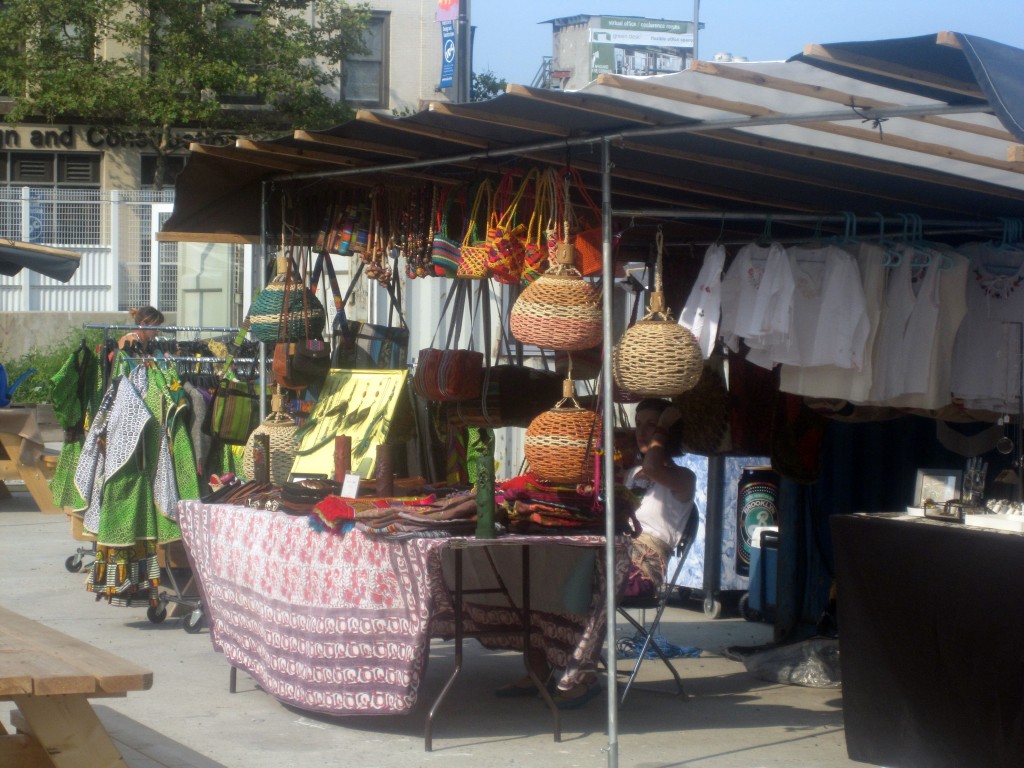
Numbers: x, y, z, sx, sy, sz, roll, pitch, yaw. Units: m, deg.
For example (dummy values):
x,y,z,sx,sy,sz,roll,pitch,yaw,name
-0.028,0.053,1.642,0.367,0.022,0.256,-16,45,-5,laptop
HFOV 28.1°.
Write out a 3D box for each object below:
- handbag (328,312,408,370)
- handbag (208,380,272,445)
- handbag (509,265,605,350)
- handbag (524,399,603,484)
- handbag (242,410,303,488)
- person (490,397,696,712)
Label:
x,y,z,sx,sy,sz,roll,pitch,yaw,name
-0.977,-0.281,14.030,0.513,0.337,0.202,2,4,-8,handbag
-1.973,0.187,14.728,0.310,0.431,0.342,-5,12,-42,handbag
0.267,-0.461,12.224,0.408,0.487,0.459,-1,5,-28,handbag
0.301,0.360,12.196,0.440,0.430,0.187,3,4,7,handbag
-1.597,0.420,13.646,0.409,0.422,0.386,2,4,-9,handbag
0.717,0.971,13.040,0.980,2.036,1.072,-3,8,-31,person
